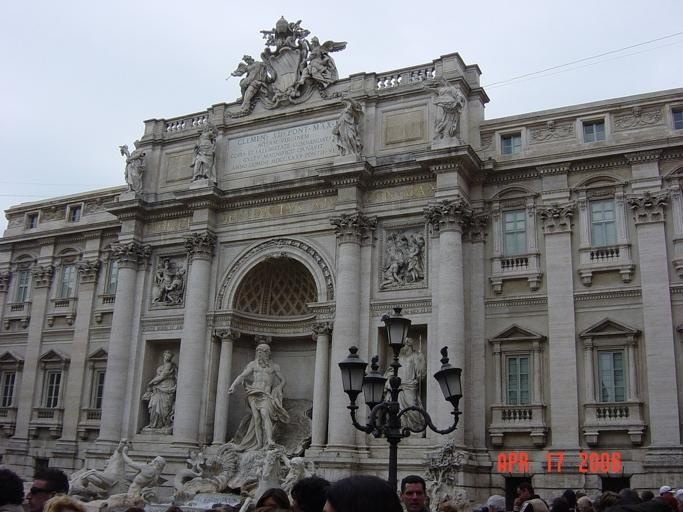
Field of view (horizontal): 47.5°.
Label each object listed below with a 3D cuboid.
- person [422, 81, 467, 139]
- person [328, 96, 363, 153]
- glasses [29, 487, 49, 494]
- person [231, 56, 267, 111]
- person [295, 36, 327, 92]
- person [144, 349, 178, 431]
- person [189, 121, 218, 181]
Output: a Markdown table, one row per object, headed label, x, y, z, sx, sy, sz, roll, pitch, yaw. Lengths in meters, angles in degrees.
| label | x | y | z | sx | sy | sz | roll | pitch | yaw |
| --- | --- | --- | --- | --- | --- | --- | --- | --- | --- |
| person | 3.962 | -5.457 | 29.317 | 1.352 | 2.751 | 0.834 | -2 | -18 | 6 |
| person | 0.294 | -5.085 | 30.727 | 1.167 | 2.580 | 0.664 | 0 | -18 | 0 |
| glasses | -4.423 | 3.425 | 11.290 | 0.341 | 0.111 | 0.139 | -10 | -21 | 30 |
| person | -3.930 | -7.515 | 33.681 | 1.478 | 2.654 | 0.580 | -12 | -22 | 33 |
| person | -1.195 | -8.055 | 32.630 | 1.324 | 2.301 | 0.423 | -6 | -19 | 20 |
| person | -7.538 | 5.746 | 32.627 | 1.492 | 3.380 | 0.564 | -7 | -20 | 22 |
| person | -5.824 | -4.370 | 33.313 | 0.995 | 2.876 | 0.749 | -1 | -18 | 5 |
